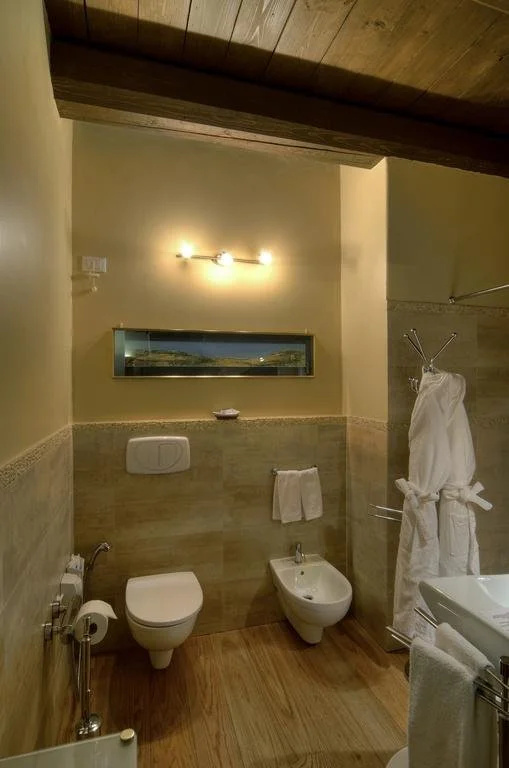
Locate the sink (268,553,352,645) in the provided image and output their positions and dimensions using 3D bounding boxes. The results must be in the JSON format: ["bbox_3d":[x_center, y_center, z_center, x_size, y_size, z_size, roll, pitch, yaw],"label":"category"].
[{"bbox_3d":[0.262,0.981,2.501,0.234,0.277,0.425,-2,-1,-10],"label":"sink"}]

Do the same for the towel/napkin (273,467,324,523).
[{"bbox_3d":[0.210,0.571,2.729,0.234,0.257,0.088,1,-9,-23],"label":"towel/napkin"}]

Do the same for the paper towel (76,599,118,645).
[{"bbox_3d":[-0.541,0.795,1.851,0.124,0.159,0.165,-9,1,-17],"label":"paper towel"}]

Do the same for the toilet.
[{"bbox_3d":[-0.372,0.911,2.248,0.302,0.457,0.324,0,-4,-14],"label":"toilet"}]

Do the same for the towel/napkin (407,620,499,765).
[{"bbox_3d":[0.482,0.853,1.352,0.099,0.333,0.255,-3,7,-28],"label":"towel/napkin"}]

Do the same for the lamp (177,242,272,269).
[{"bbox_3d":[-0.138,-0.621,2.671,0.506,0.093,0.061,-3,7,-24],"label":"lamp"}]
